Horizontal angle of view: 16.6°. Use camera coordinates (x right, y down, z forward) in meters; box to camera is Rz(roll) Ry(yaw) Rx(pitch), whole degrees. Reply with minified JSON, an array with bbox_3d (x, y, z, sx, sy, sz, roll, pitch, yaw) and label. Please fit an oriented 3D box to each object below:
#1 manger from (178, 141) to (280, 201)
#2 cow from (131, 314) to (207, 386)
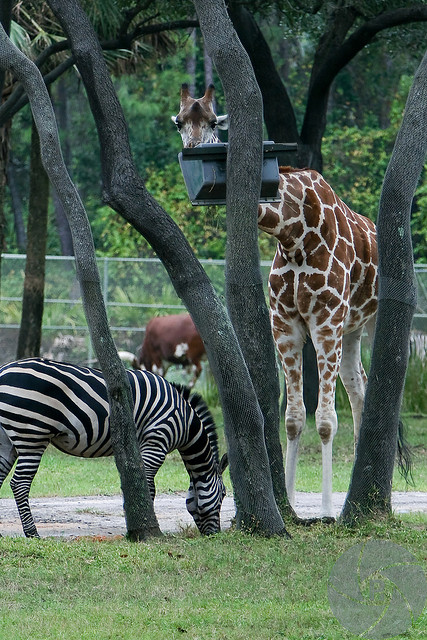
[{"bbox_3d":[0.017,-0.973,9.986,0.484,0.440,0.414,0,-17,-12],"label":"manger"},{"bbox_3d":[-0.620,0.576,20.198,0.890,1.194,0.774,3,8,44],"label":"cow"}]
